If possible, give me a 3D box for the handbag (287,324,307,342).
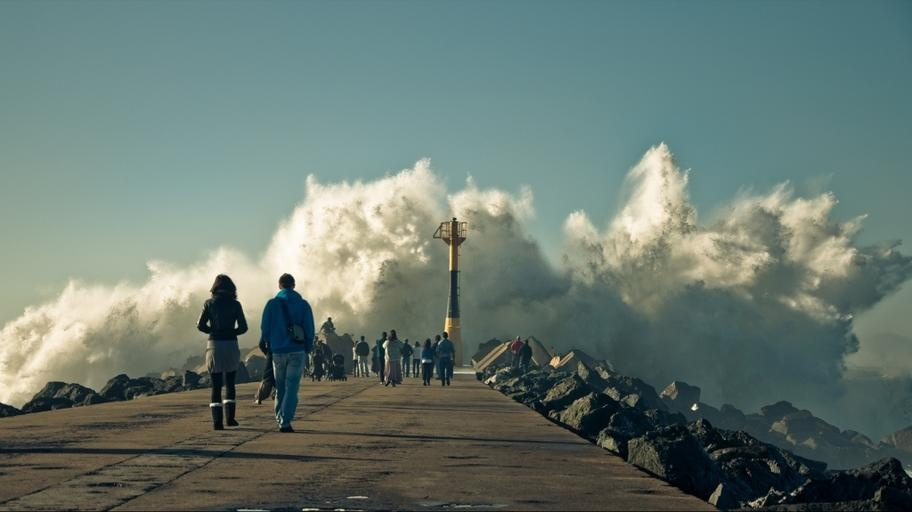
[{"bbox_3d":[-3.970,1.928,24.157,0.431,0.424,0.126,2,-3,-14],"label":"handbag"}]
